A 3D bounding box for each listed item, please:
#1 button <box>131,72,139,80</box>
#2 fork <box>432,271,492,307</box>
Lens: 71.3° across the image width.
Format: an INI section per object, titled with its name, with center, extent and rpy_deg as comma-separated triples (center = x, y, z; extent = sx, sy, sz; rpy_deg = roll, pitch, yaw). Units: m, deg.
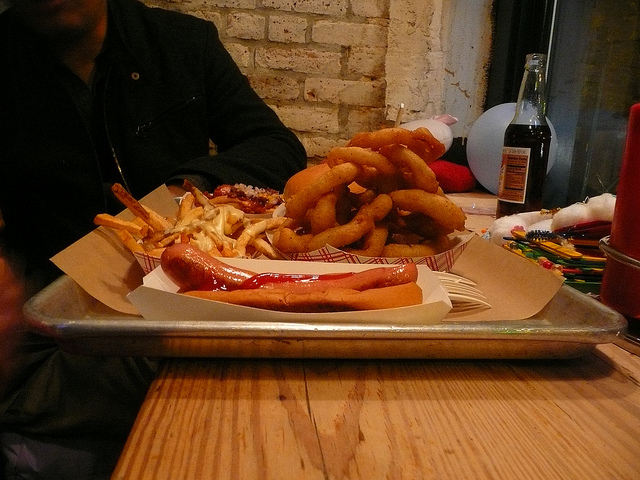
[button]
center = -0.652, -0.585, 1.589
extent = 0.027, 0.023, 0.009
rpy_deg = -12, 28, -28
[fork]
center = 0.227, 0.090, 0.742
extent = 0.102, 0.023, 0.049
rpy_deg = 17, 27, -18
